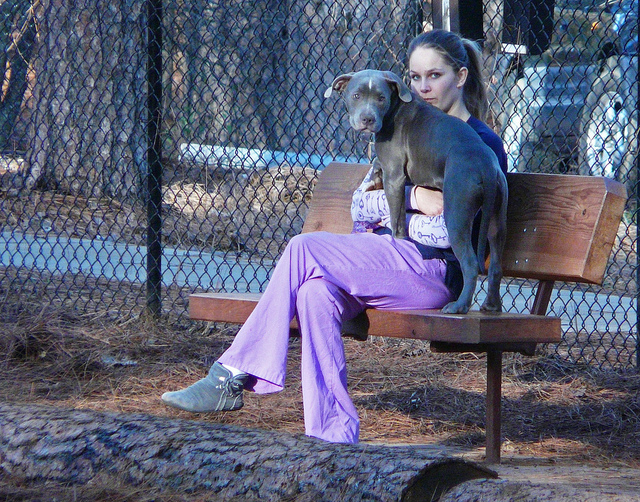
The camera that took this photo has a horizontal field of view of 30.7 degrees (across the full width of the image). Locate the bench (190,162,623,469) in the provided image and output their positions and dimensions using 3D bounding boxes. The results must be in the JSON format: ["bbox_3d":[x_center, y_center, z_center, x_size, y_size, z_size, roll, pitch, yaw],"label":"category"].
[{"bbox_3d":[0.860,0.314,7.915,1.347,1.576,2.195,-4,7,-27],"label":"bench"}]
